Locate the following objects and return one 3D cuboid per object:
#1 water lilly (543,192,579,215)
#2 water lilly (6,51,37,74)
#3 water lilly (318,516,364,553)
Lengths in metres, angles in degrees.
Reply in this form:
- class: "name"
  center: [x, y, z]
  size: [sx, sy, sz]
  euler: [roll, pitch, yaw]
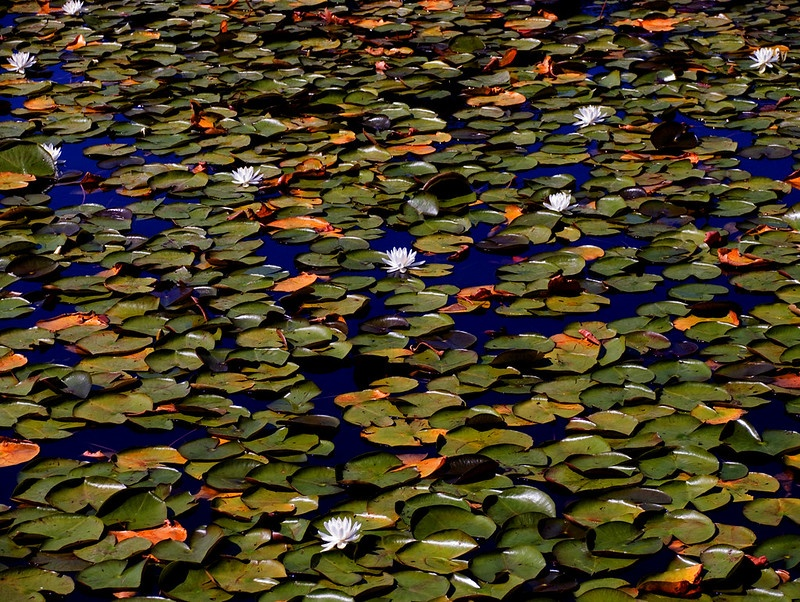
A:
- class: "water lilly"
  center: [0.784, -0.483, 4.697]
  size: [0.187, 0.059, 0.162]
  euler: [3, 15, 11]
- class: "water lilly"
  center: [-2.549, -1.592, 6.354]
  size: [0.204, 0.130, 0.325]
  euler: [-13, 22, -14]
- class: "water lilly"
  center: [-0.212, 0.829, 3.370]
  size: [0.157, 0.047, 0.159]
  euler: [-18, 14, -34]
